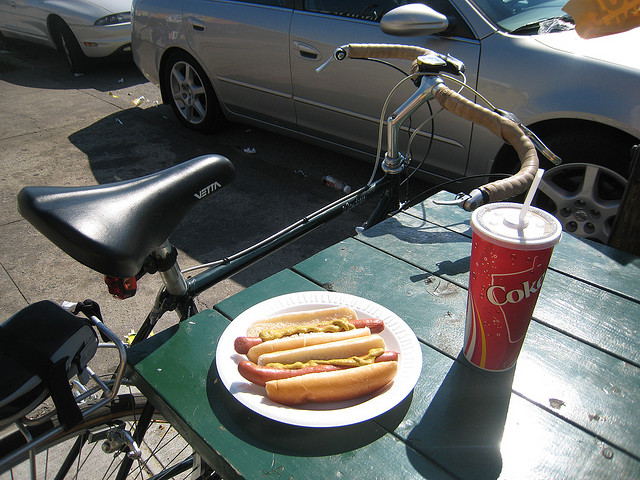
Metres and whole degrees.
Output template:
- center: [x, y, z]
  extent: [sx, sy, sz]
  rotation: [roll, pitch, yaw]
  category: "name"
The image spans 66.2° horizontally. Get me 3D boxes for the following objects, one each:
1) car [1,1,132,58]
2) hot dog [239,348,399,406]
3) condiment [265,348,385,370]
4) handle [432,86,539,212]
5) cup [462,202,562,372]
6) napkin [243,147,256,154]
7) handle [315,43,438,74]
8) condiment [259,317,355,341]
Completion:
- center: [-3.371, -2.811, 6.590]
  extent: [1.973, 0.656, 0.831]
  rotation: [15, 32, 25]
  category: "car"
- center: [0.012, 0.318, 1.212]
  extent: [0.437, 0.130, 0.140]
  rotation: [-5, 78, -3]
  category: "hot dog"
- center: [0.016, 0.291, 1.169]
  extent: [0.286, 0.015, 0.043]
  rotation: [-6, 43, -8]
  category: "condiment"
- center: [0.461, -0.229, 1.431]
  extent: [0.234, 0.222, 0.628]
  rotation: [6, 43, 5]
  category: "handle"
- center: [0.448, 0.146, 1.270]
  extent: [0.195, 0.446, 0.193]
  rotation: [1, 33, 0]
  category: "cup"
- center: [-0.661, -0.830, 4.628]
  extent: [0.083, 0.032, 0.069]
  rotation: [3, 35, -1]
  category: "napkin"
- center: [0.228, -0.725, 1.918]
  extent: [0.299, 0.056, 0.224]
  rotation: [-3, 21, -9]
  category: "handle"
- center: [-0.032, 0.227, 1.261]
  extent: [0.244, 0.028, 0.052]
  rotation: [-7, 43, -9]
  category: "condiment"
